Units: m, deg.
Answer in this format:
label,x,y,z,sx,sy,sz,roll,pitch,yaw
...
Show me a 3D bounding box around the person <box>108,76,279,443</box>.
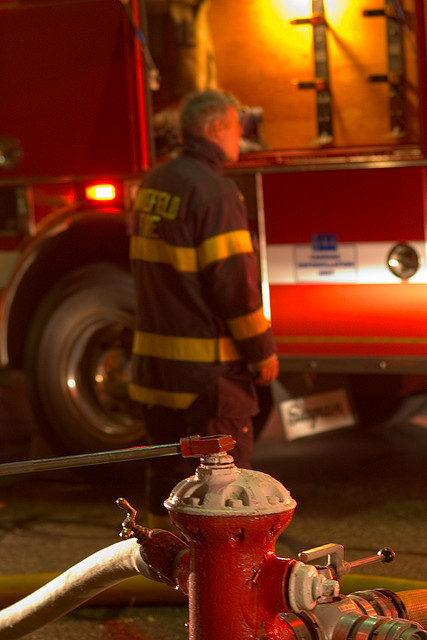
label,x,y,z,sx,sy,sz,roll,pitch,yaw
person,-0.070,-0.191,2.648,0.556,1.457,0.641,-24,26,-39
